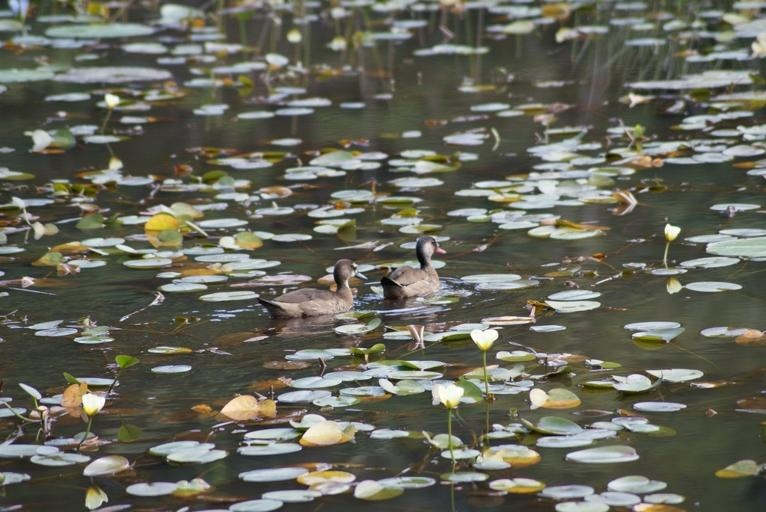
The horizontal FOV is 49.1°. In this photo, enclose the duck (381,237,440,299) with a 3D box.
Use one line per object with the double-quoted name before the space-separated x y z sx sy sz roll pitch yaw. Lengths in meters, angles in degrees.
"duck" 0.324 0.141 8.171 0.470 0.544 0.747 3 12 20
